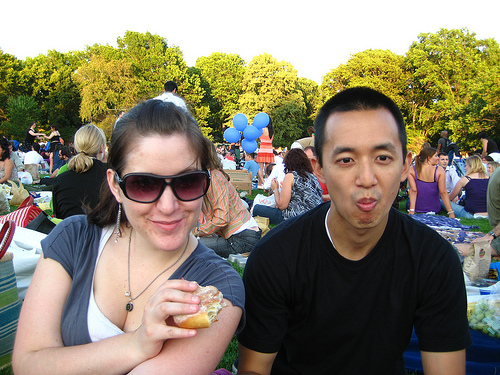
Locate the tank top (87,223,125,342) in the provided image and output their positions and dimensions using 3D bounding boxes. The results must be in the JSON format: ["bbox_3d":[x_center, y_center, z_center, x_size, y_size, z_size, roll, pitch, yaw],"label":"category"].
[{"bbox_3d":[-0.875,0.549,1.937,0.170,0.620,0.430,0,1,-27],"label":"tank top"}]

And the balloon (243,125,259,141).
[{"bbox_3d":[0.081,-2.589,15.484,0.634,0.684,0.760,5,33,34],"label":"balloon"}]

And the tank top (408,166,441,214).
[{"bbox_3d":[5.125,0.224,9.932,0.902,1.545,0.874,0,0,10],"label":"tank top"}]

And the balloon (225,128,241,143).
[{"bbox_3d":[-0.854,-2.618,16.607,0.645,0.824,0.672,-6,6,10],"label":"balloon"}]

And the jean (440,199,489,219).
[{"bbox_3d":[6.492,0.714,9.676,0.760,0.276,0.556,13,1,40],"label":"jean"}]

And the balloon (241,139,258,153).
[{"bbox_3d":[-0.057,-2.026,15.886,0.669,0.553,0.523,5,3,-31],"label":"balloon"}]

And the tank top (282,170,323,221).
[{"bbox_3d":[1.265,0.255,7.344,0.823,1.251,0.755,-2,-15,0],"label":"tank top"}]

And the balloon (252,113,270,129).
[{"bbox_3d":[0.554,-3.168,15.480,0.776,0.763,0.413,1,0,-1],"label":"balloon"}]

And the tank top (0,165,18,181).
[{"bbox_3d":[-7.648,-0.442,10.326,0.373,0.471,0.886,1,0,-5],"label":"tank top"}]

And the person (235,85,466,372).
[{"bbox_3d":[0.666,0.305,2.217,1.460,1.993,0.505,1,1,-8],"label":"person"}]

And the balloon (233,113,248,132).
[{"bbox_3d":[-0.495,-3.212,16.079,0.664,0.917,0.496,1,0,-1],"label":"balloon"}]

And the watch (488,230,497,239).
[{"bbox_3d":[3.786,0.745,5.055,0.093,0.066,0.103,33,-40,6],"label":"watch"}]

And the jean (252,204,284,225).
[{"bbox_3d":[0.450,0.624,7.891,0.582,0.235,0.449,28,-2,21],"label":"jean"}]

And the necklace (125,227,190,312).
[{"bbox_3d":[-0.587,0.504,2.038,0.400,0.461,0.272,1,0,-3],"label":"necklace"}]

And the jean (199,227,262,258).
[{"bbox_3d":[-0.271,0.937,5.419,0.833,0.294,0.520,-15,14,-11],"label":"jean"}]
